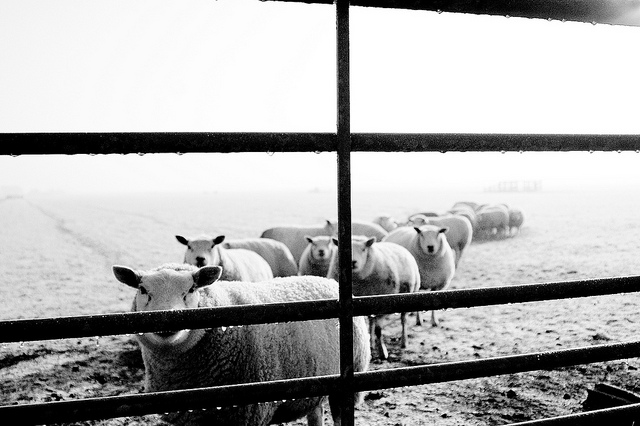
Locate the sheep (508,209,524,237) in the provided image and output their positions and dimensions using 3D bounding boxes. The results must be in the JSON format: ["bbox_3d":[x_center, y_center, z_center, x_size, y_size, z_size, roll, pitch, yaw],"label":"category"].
[{"bbox_3d":[16.018,0.741,76.098,1.386,2.239,0.611,1,-1,-30],"label":"sheep"}]

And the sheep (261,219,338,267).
[{"bbox_3d":[-1.283,2.053,66.443,6.010,3.598,2.064,1,13,20],"label":"sheep"}]

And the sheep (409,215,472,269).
[{"bbox_3d":[7.918,1.356,66.224,5.222,3.868,2.274,8,4,20],"label":"sheep"}]
